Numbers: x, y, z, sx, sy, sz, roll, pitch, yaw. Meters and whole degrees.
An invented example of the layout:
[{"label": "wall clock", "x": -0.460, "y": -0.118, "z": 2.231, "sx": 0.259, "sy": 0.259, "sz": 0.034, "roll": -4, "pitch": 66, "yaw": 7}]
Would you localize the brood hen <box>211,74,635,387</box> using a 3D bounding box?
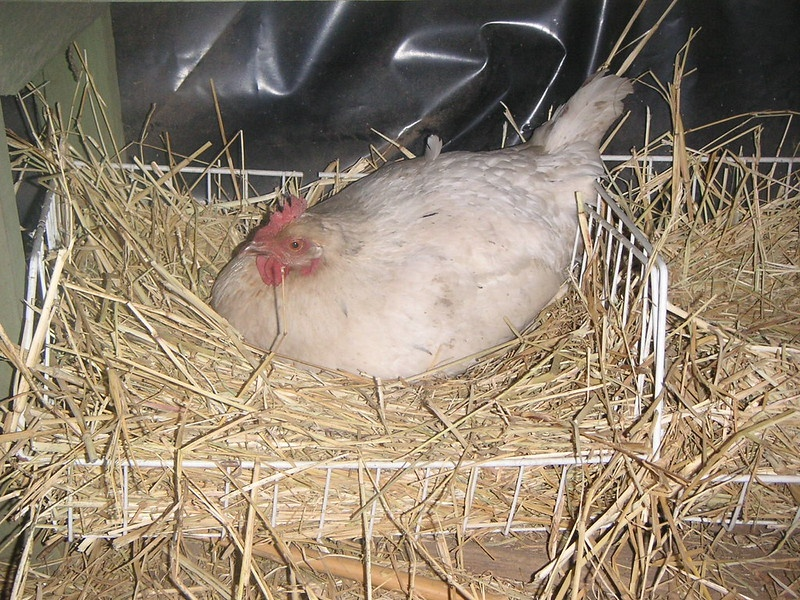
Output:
[{"label": "brood hen", "x": 0.185, "y": -0.179, "z": 2.674, "sx": 1.123, "sy": 0.707, "sz": 0.515, "roll": -30, "pitch": 69, "yaw": 0}]
